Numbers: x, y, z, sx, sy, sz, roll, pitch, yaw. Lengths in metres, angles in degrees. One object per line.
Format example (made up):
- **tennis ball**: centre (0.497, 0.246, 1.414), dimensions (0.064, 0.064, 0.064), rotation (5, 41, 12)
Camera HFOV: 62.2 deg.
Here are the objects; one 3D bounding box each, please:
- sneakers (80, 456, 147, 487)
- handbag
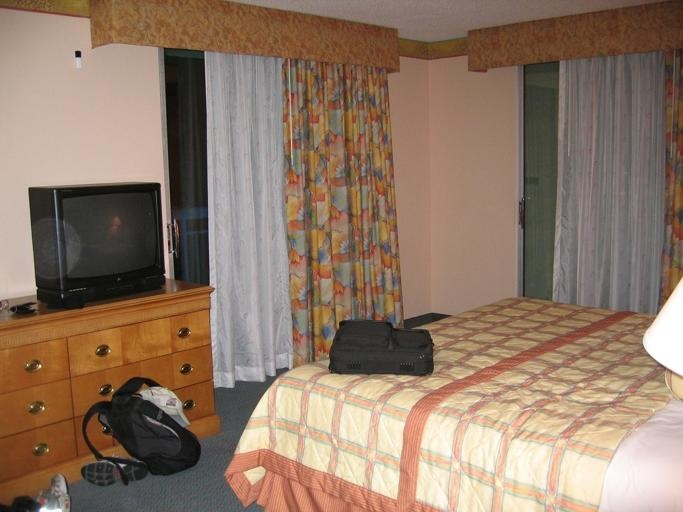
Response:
- **sneakers**: centre (-1.421, 1.314, 3.583), dimensions (0.402, 0.165, 0.183), rotation (8, -5, -7)
- **handbag**: centre (0.204, 0.485, 3.035), dimensions (0.332, 0.123, 0.330), rotation (2, 11, 6)
